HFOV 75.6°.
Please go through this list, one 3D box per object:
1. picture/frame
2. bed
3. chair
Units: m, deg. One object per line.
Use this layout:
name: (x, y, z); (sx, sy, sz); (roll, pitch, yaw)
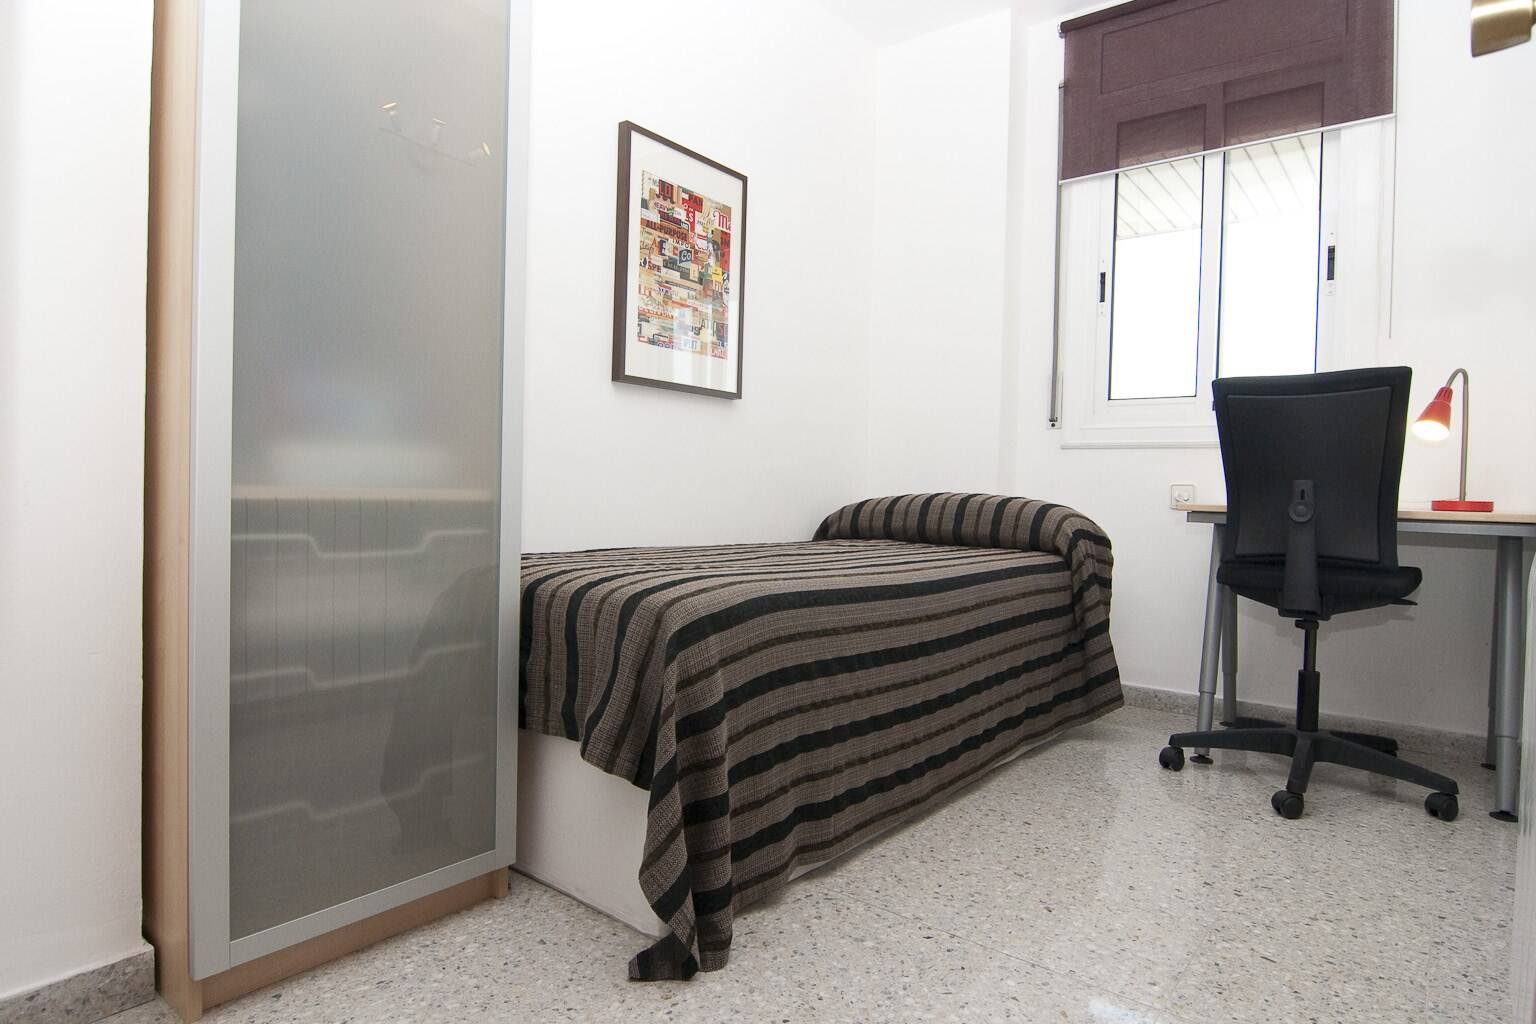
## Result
picture/frame: (-0.344, -0.974, 3.900); (0.208, 1.030, 0.801); (8, 15, 33)
bed: (0.130, 0.530, 2.944); (1.427, 0.436, 0.892); (0, 1, -44)
chair: (1.783, 0.247, 3.216); (0.799, 1.439, 0.455); (9, 15, 36)
